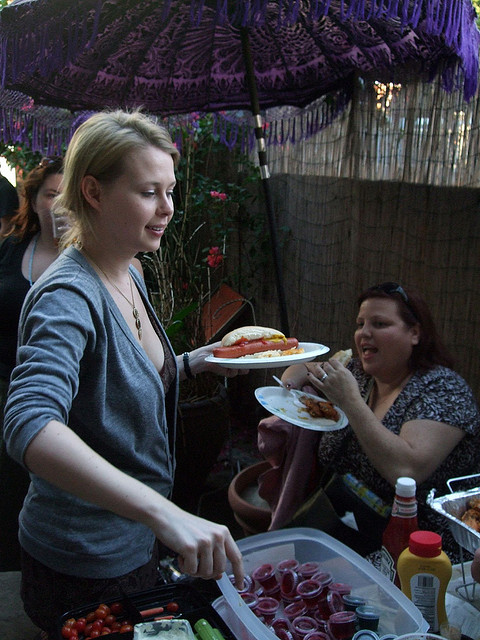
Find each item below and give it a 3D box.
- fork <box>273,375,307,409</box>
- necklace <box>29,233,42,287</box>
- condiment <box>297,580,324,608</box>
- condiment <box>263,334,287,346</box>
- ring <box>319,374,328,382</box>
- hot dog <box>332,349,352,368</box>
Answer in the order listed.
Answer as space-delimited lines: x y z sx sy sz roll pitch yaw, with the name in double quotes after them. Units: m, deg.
0.222 0.321 2.370 0.037 0.025 0.248 -15 36 -38 "fork"
-1.076 -0.325 2.828 0.052 0.269 0.232 -2 8 -16 "necklace"
0.161 0.618 1.212 0.049 0.030 0.051 -2 -7 -5 "condiment"
0.161 0.087 2.274 0.118 0.044 0.054 -5 9 -37 "condiment"
0.333 0.231 2.139 0.006 0.024 0.026 41 -10 -15 "ring"
0.462 0.181 2.442 0.069 0.098 0.028 36 39 3 "hot dog"
